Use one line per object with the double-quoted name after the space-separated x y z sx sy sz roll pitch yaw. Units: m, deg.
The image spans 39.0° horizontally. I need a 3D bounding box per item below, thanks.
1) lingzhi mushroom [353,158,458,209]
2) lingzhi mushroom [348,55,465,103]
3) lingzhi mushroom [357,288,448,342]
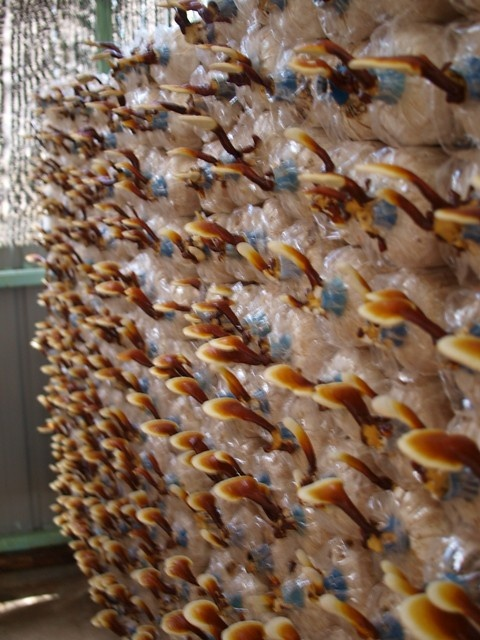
0.158 -0.127 0.623 0.070 0.049 0.020 29 53 -10 "lingzhi mushroom"
0.150 -0.211 0.607 0.110 0.025 0.039 8 53 11 "lingzhi mushroom"
0.142 -0.009 0.595 0.052 0.021 0.071 -12 20 -33 "lingzhi mushroom"
